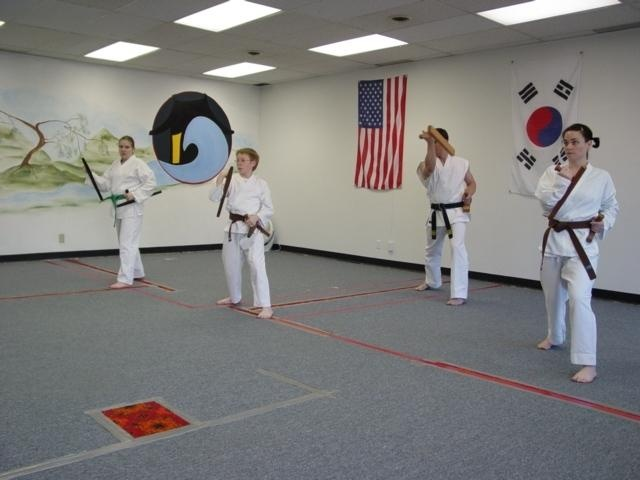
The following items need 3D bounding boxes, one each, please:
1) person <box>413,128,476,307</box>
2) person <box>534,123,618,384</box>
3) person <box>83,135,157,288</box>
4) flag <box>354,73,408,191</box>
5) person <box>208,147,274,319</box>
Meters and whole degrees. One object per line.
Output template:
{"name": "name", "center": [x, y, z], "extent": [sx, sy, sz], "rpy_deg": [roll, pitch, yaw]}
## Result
{"name": "person", "center": [1.466, -0.259, 5.874], "extent": [0.660, 1.983, 1.020], "rpy_deg": [2, 8, 13]}
{"name": "person", "center": [1.938, 0.062, 3.867], "extent": [0.530, 1.851, 0.675], "rpy_deg": [7, 10, 39]}
{"name": "person", "center": [-2.484, -0.370, 6.403], "extent": [0.620, 1.848, 0.803], "rpy_deg": [-7, 11, -42]}
{"name": "flag", "center": [1.000, -1.719, 8.203], "extent": [0.916, 1.817, 0.139], "rpy_deg": [8, 11, 42]}
{"name": "person", "center": [-0.790, -0.078, 5.154], "extent": [0.600, 1.693, 0.774], "rpy_deg": [-1, 8, -7]}
